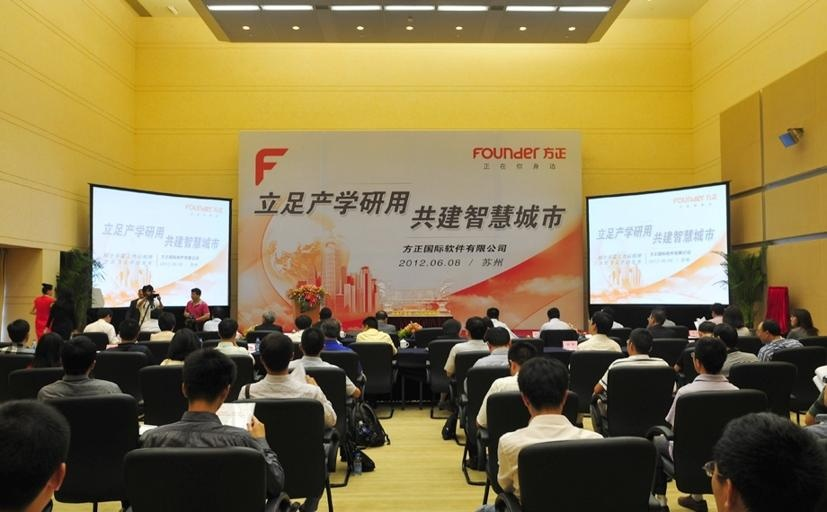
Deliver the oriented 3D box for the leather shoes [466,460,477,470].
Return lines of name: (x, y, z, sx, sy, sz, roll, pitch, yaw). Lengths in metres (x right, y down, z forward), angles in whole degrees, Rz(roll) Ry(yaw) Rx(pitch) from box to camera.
leather shoes: (0.660, 2.347, 6.971, 0.134, 0.138, 0.092, 2, -7, -2)

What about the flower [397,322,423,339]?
flower: (-0.085, 1.286, 10.747, 0.287, 0.166, 0.283, 0, -1, -30)

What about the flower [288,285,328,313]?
flower: (-2.264, 0.881, 13.132, 0.609, 0.439, 0.620, -3, -3, 32)

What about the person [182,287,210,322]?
person: (-4.403, 0.985, 12.494, 0.622, 0.888, 0.532, -1, -7, 3)

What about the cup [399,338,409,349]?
cup: (-0.134, 1.352, 9.570, 0.098, 0.103, 0.148, -7, -8, 43)

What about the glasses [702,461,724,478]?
glasses: (2.011, 1.412, 4.169, 0.061, 0.112, 0.279, -1, -8, 16)

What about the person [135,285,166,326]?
person: (-4.743, 1.094, 11.123, 0.453, 1.076, 0.318, -2, 11, -30)
